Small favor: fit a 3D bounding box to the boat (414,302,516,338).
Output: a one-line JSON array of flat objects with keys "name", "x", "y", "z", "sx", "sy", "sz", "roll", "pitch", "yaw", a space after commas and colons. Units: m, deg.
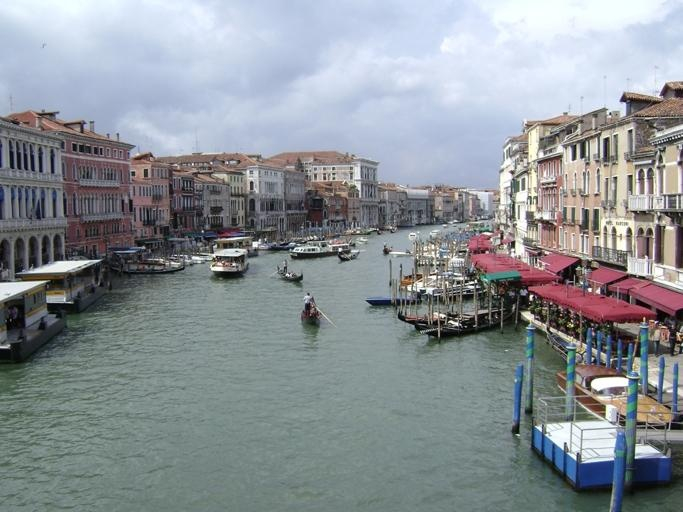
[{"name": "boat", "x": 9.861, "y": 4.973, "z": 54.546, "sx": 8.417, "sy": 1.965, "sz": 2.565, "roll": -3, "pitch": 3, "yaw": -28}]
